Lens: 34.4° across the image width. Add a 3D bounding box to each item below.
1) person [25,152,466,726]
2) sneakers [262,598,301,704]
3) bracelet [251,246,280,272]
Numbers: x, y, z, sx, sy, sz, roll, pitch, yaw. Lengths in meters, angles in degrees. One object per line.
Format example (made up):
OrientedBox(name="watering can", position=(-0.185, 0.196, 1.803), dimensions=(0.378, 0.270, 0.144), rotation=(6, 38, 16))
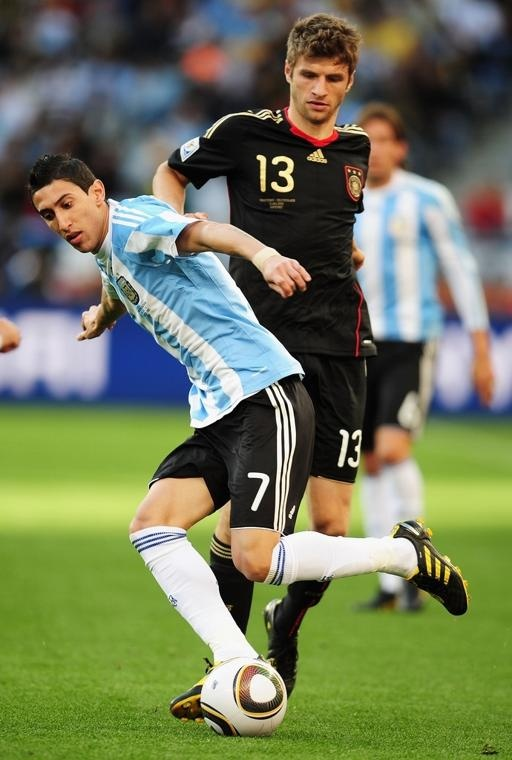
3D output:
OrientedBox(name="person", position=(-0.031, 0.087, 2.317), dimensions=(1.262, 1.611, 0.900), rotation=(-7, -5, 13))
OrientedBox(name="sneakers", position=(0.067, 0.924, 2.798), dimensions=(0.133, 0.287, 0.108), rotation=(-23, -13, 41))
OrientedBox(name="bracelet", position=(0.016, -0.294, 2.006), dimensions=(0.054, 0.056, 0.065), rotation=(23, 52, 14))
